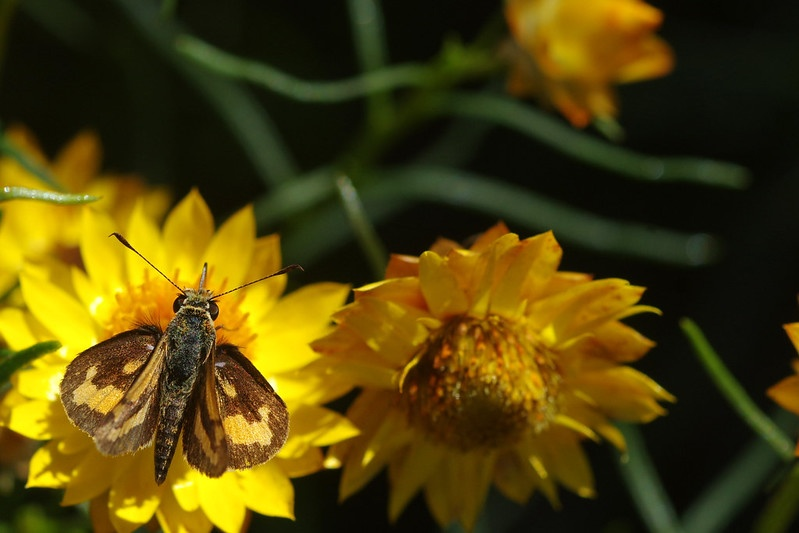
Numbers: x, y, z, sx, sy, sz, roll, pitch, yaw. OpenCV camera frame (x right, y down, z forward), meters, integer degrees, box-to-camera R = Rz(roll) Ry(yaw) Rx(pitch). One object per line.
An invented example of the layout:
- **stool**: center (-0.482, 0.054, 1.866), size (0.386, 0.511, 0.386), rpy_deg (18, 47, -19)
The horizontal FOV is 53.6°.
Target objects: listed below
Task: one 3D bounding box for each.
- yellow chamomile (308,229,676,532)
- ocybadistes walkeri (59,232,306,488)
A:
- **yellow chamomile**: center (0.119, 0.168, 1.131), size (0.494, 0.428, 0.206), rpy_deg (8, -7, -6)
- **ocybadistes walkeri**: center (-0.331, 0.182, 1.145), size (0.334, 0.362, 0.127), rpy_deg (10, -17, -4)
